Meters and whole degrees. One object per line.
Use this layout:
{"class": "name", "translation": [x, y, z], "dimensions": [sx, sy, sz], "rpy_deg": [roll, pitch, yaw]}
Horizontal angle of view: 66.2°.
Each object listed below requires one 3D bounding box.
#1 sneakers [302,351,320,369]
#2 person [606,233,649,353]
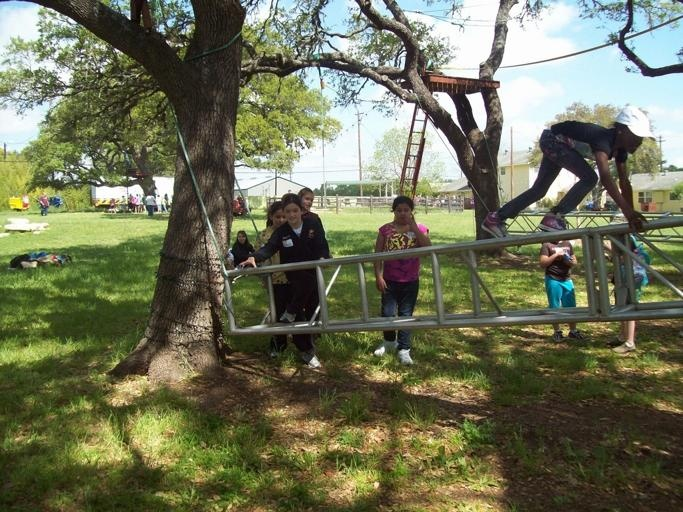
{"class": "sneakers", "translation": [-0.419, 1.391, 7.068], "dimensions": [0.149, 0.121, 0.269], "rpy_deg": [-13, 21, -42]}
{"class": "person", "translation": [4.098, 0.536, 7.675], "dimensions": [0.665, 1.683, 0.508], "rpy_deg": [4, -11, 19]}
